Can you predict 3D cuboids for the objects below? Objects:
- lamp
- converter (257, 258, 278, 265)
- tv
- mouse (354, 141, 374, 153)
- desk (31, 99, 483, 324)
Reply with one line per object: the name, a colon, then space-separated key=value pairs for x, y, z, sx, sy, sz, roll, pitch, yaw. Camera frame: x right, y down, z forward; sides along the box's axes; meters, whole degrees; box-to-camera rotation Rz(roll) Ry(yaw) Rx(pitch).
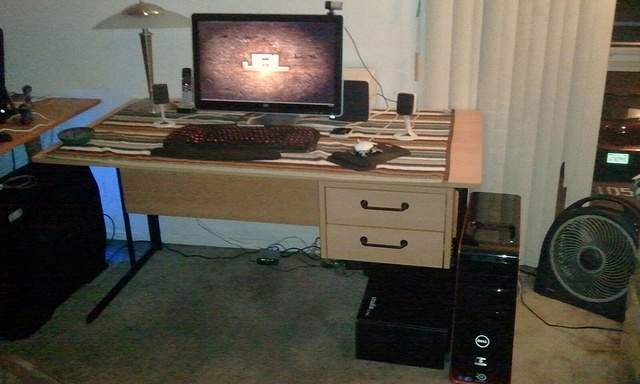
lamp: x=-0.960 y=-1.065 z=3.467 sx=0.907 sy=0.531 sz=0.558 roll=-1 pitch=28 yaw=-5
converter: x=-0.381 y=0.504 z=3.600 sx=0.103 sy=0.013 sz=0.068 roll=2 pitch=12 yaw=3
tv: x=-0.312 y=-0.771 z=3.017 sx=1.408 sy=0.525 sz=0.103 roll=1 pitch=23 yaw=5
mouse: x=0.246 y=-0.251 z=2.746 sx=0.108 sy=0.054 sz=0.070 roll=-2 pitch=22 yaw=-4
desk: x=-0.120 y=0.302 z=3.417 sx=3.394 sy=0.939 sz=1.101 roll=2 pitch=30 yaw=6
